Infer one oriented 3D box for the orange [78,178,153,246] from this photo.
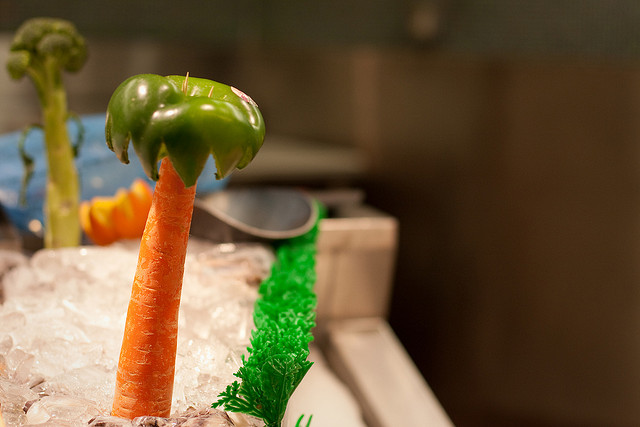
[{"bbox_3d":[-0.354,0.005,1.018,0.124,0.104,0.087,-7,-71,14],"label":"orange"}]
